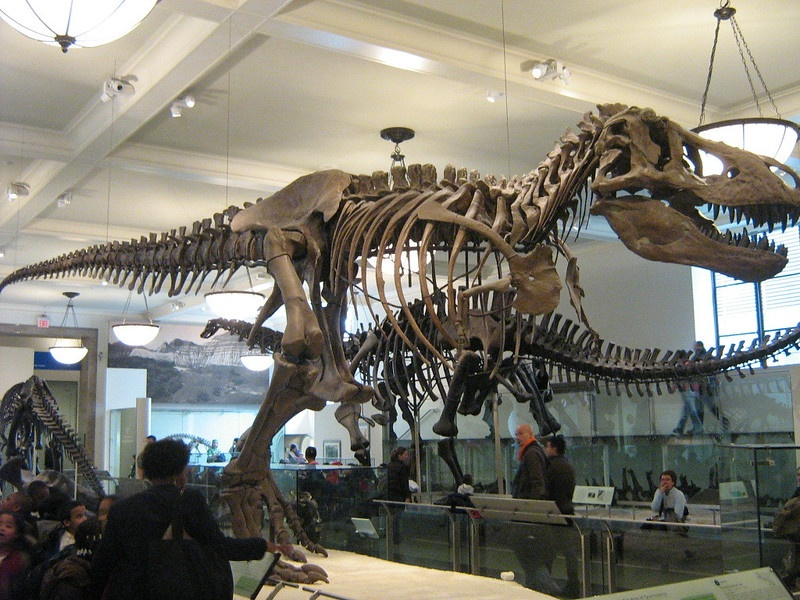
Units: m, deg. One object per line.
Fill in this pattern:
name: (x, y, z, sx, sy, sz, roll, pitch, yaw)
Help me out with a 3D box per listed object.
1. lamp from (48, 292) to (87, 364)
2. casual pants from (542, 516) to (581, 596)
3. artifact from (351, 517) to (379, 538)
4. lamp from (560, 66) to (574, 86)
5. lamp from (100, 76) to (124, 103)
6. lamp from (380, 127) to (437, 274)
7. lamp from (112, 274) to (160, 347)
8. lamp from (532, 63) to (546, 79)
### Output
lamp: (-7.430, 0.626, 15.114, 0.847, 1.686, 0.852, 11, 14, 9)
casual pants: (1.173, 1.887, 4.897, 0.078, 0.496, 0.317, 6, -15, -38)
artifact: (-0.341, 2.093, 6.229, 0.215, 0.156, 0.193, -4, -4, 38)
lamp: (1.754, -2.354, 7.145, 0.061, 0.159, 0.211, 2, 1, -5)
lamp: (-3.203, -2.336, 7.475, 0.187, 0.281, 0.362, -1, 25, 0)
lamp: (-0.010, -1.484, 8.986, 0.589, 1.417, 0.555, -3, 3, 12)
lamp: (-4.963, 0.156, 12.605, 0.846, 1.322, 0.737, 2, -6, -30)
lamp: (1.445, -2.380, 7.057, 0.108, 0.134, 0.116, 6, -6, 4)
